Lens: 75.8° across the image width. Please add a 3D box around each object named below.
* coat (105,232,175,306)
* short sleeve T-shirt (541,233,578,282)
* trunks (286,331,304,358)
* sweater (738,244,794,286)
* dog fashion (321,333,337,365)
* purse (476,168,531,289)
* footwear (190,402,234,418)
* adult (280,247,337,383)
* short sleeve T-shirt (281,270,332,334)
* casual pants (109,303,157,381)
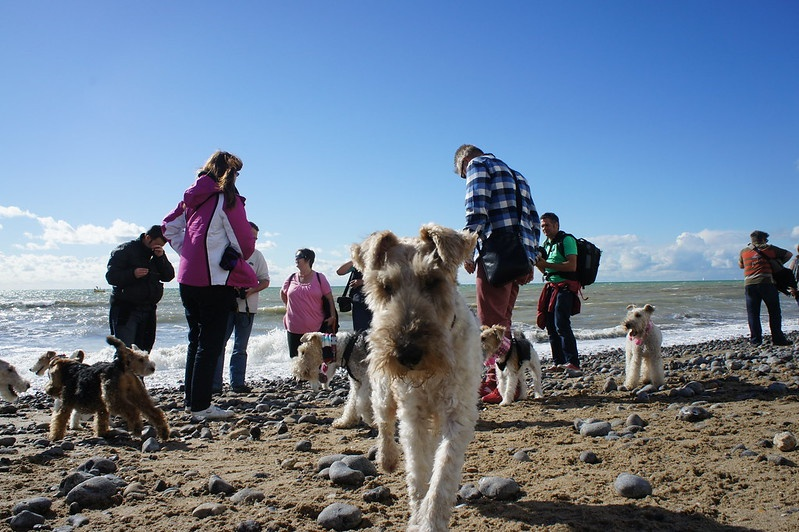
[{"bbox_3d":[-4.420,0.063,8.702,0.978,1.376,1.313,-4,-3,30],"label":"coat"},{"bbox_3d":[3.014,-0.126,9.510,0.569,0.911,0.979,1,-3,-13],"label":"short sleeve T-shirt"},{"bbox_3d":[-2.126,1.662,10.244,0.244,0.737,0.398,-3,14,5],"label":"trunks"},{"bbox_3d":[8.814,0.009,12.211,0.680,0.850,1.033,10,-4,-37],"label":"sweater"},{"bbox_3d":[-1.142,1.375,8.585,0.276,0.451,0.184,6,6,28],"label":"dog fashion"},{"bbox_3d":[1.591,-0.601,7.749,0.779,1.793,0.438,-1,-5,11],"label":"purse"},{"bbox_3d":[-2.902,2.264,7.978,0.650,0.257,0.228,4,-4,-18],"label":"footwear"},{"bbox_3d":[-1.780,0.999,10.185,1.213,2.632,0.784,-1,3,10],"label":"adult"},{"bbox_3d":[-1.814,0.711,10.010,0.934,1.200,0.453,-1,-5,1],"label":"short sleeve T-shirt"},{"bbox_3d":[-4.886,1.248,9.477,0.698,1.498,0.492,0,26,-38],"label":"casual pants"}]
